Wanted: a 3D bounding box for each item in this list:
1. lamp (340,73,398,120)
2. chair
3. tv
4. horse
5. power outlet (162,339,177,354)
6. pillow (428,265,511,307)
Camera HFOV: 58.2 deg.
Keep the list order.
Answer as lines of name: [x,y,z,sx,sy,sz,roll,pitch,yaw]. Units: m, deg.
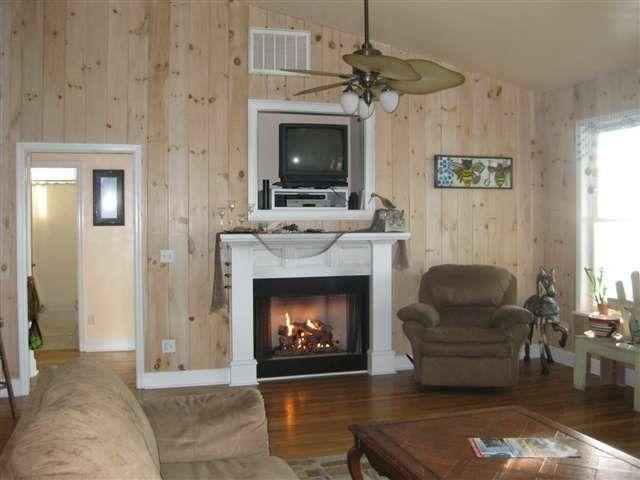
lamp: [0.346,-1.043,4.227,0.323,0.246,0.367,0,0,-2]
chair: [1.507,0.925,6.065,1.368,1.165,1.355,-1,2,1]
tv: [-0.086,-0.886,6.418,0.900,0.837,0.545,0,-2,-13]
horse: [2.595,0.906,6.689,0.391,1.123,1.416,-1,-6,9]
power outlet: [-1.554,1.075,5.856,0.138,0.151,0.022,0,-6,-10]
pillow: [1.539,0.494,6.107,0.702,0.441,0.216,2,-18,1]
